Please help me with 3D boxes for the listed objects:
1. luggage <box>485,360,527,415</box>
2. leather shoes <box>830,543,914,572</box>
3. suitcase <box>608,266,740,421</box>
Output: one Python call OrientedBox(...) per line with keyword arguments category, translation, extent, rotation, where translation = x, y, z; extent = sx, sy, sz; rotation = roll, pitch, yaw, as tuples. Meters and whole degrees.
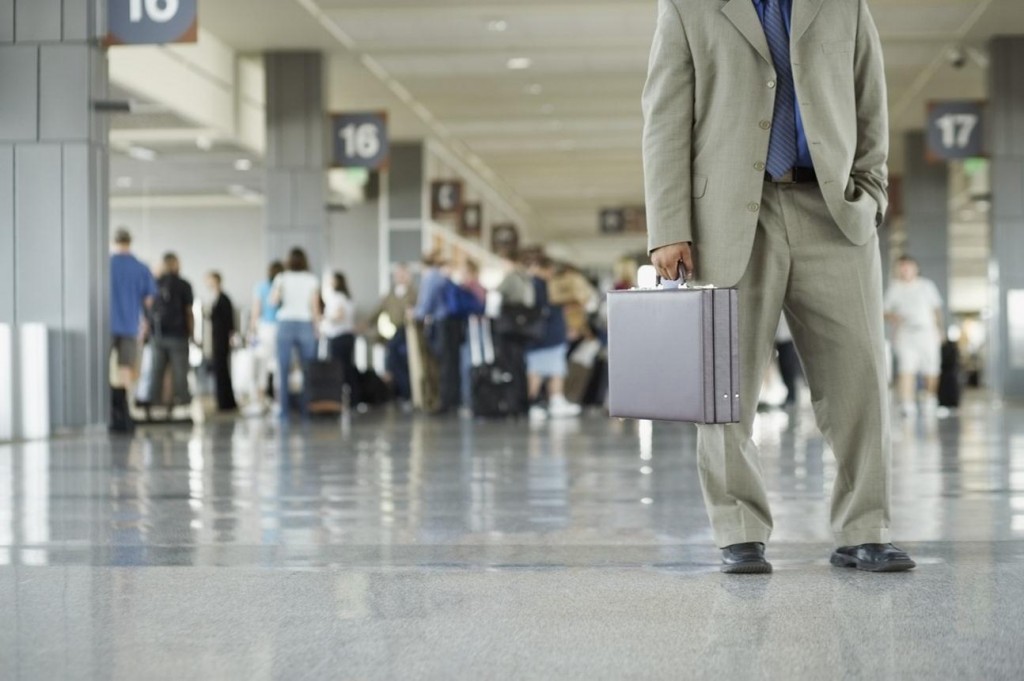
OrientedBox(category="luggage", translation=(-0.042, 0.473, 14.098), extent=(0.464, 0.488, 0.183), rotation=(1, -1, -10))
OrientedBox(category="leather shoes", translation=(1.797, 1.072, 7.199), extent=(0.297, 0.123, 0.166), rotation=(-3, -5, 22))
OrientedBox(category="suitcase", translation=(0.827, 0.045, 7.190), extent=(0.706, 0.836, 0.269), rotation=(-2, -4, 23))
